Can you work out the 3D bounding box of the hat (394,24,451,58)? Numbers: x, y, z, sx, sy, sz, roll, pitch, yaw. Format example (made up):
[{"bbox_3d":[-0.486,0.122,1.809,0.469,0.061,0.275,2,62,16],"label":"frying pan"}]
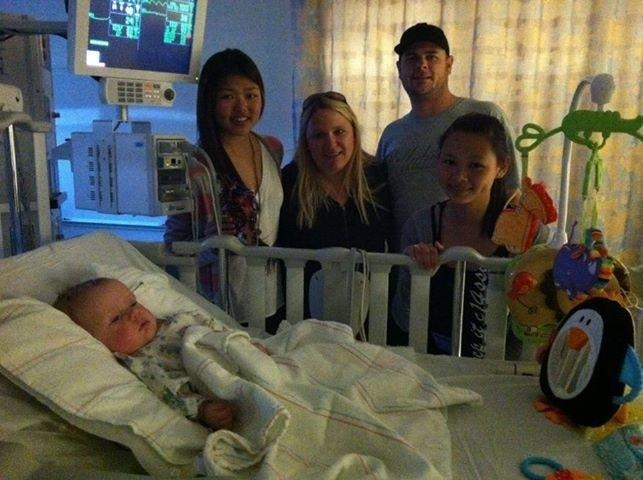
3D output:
[{"bbox_3d":[0.485,-0.992,2.829,0.292,0.145,0.227,3,6,2],"label":"hat"}]

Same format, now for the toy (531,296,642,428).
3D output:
[{"bbox_3d":[0.780,0.361,1.641,0.111,0.316,0.312,14,-15,-18],"label":"toy"}]

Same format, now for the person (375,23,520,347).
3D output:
[{"bbox_3d":[0.596,-0.175,2.816,0.722,1.706,0.671,-5,-3,23],"label":"person"}]

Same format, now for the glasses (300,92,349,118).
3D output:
[{"bbox_3d":[0.021,-0.614,2.575,0.201,0.118,0.240,1,11,1],"label":"glasses"}]

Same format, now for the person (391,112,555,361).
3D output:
[{"bbox_3d":[0.599,0.028,2.300,0.587,1.065,0.519,7,8,20],"label":"person"}]

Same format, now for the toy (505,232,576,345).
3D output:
[{"bbox_3d":[0.722,0.161,1.894,0.294,0.296,0.217,4,21,45],"label":"toy"}]

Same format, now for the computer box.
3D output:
[{"bbox_3d":[-0.835,-0.290,2.431,0.506,0.332,0.269,5,11,15],"label":"computer box"}]
